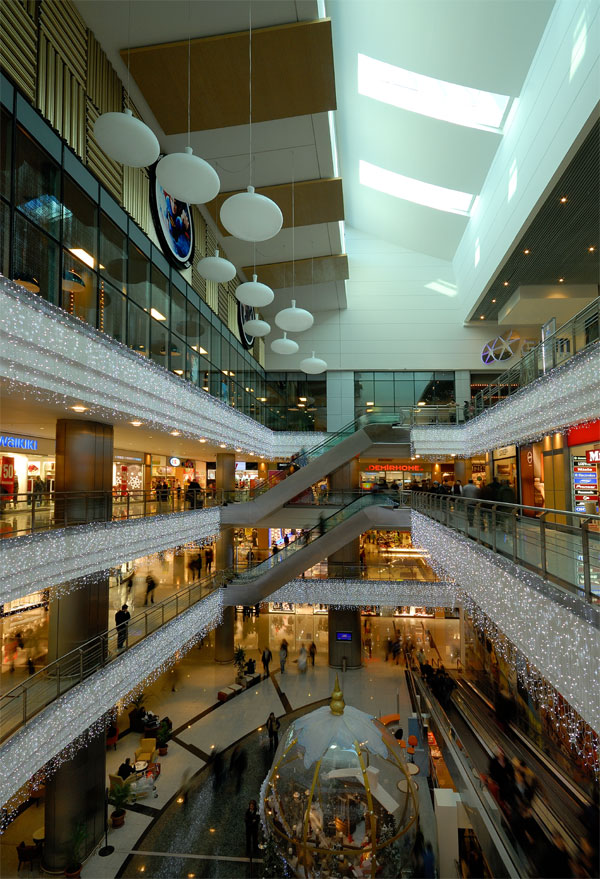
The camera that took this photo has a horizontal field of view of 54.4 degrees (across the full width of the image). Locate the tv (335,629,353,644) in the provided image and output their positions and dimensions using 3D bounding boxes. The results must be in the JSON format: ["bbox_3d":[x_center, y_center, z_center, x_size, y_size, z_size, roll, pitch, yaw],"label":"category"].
[{"bbox_3d":[1.627,6.895,20.365,0.373,0.651,0.081,-2,13,2],"label":"tv"}]
